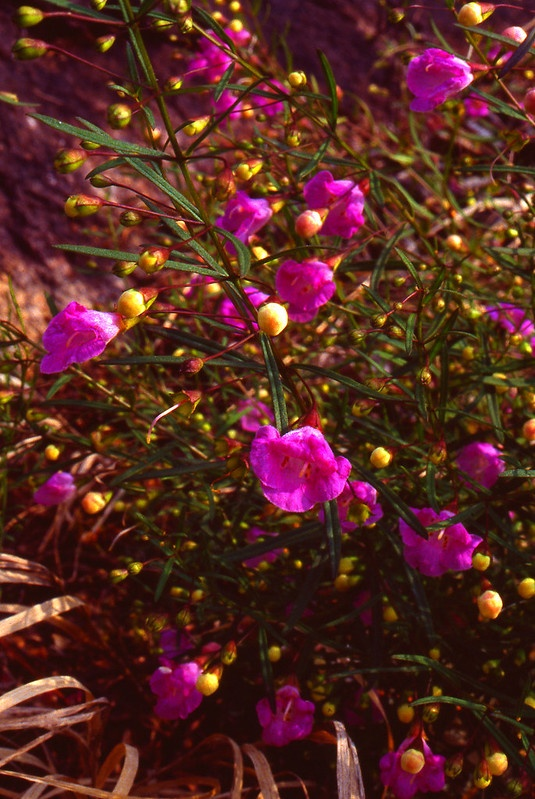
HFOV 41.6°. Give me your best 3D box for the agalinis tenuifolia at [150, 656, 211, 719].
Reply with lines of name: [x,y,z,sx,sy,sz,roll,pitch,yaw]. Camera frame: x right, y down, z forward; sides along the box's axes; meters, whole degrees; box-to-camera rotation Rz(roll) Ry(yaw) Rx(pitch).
agalinis tenuifolia: [-0.168,0.612,1.474,0.114,0.114,0.068,-12,1,28]

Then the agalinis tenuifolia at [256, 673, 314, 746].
agalinis tenuifolia: [0.031,0.636,1.469,0.120,0.128,0.066,19,3,-13]
